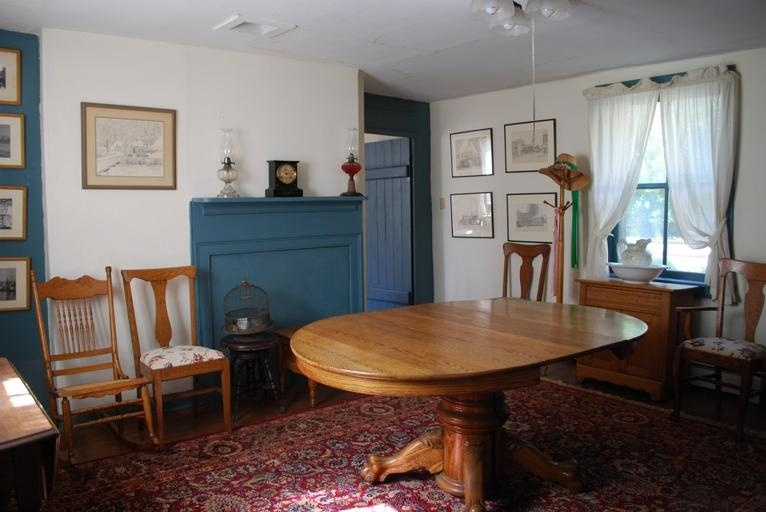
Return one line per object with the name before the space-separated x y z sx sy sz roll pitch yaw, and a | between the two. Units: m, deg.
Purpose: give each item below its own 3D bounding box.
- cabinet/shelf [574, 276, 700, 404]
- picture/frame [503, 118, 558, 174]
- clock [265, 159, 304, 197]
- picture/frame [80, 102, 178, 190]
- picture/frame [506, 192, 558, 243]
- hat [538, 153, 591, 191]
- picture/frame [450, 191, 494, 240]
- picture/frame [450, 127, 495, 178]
cabinet/shelf | 2.376 0.723 5.268 0.858 1.007 0.654 7 10 43
picture/frame | 1.655 -1.223 6.092 0.796 0.695 0.029 0 1 44
clock | -0.934 -0.721 5.121 0.330 0.339 0.224 -5 14 -20
picture/frame | -2.175 -0.932 4.610 0.857 0.790 0.035 0 0 -29
picture/frame | 1.686 -0.439 6.133 0.025 0.563 0.622 -2 3 -44
hat | 1.857 -0.871 5.575 0.483 0.232 0.359 19 -10 -3
picture/frame | 1.092 -0.497 6.622 0.630 0.596 0.023 2 7 43
picture/frame | 1.089 -1.247 6.575 0.719 0.673 0.028 0 0 42
